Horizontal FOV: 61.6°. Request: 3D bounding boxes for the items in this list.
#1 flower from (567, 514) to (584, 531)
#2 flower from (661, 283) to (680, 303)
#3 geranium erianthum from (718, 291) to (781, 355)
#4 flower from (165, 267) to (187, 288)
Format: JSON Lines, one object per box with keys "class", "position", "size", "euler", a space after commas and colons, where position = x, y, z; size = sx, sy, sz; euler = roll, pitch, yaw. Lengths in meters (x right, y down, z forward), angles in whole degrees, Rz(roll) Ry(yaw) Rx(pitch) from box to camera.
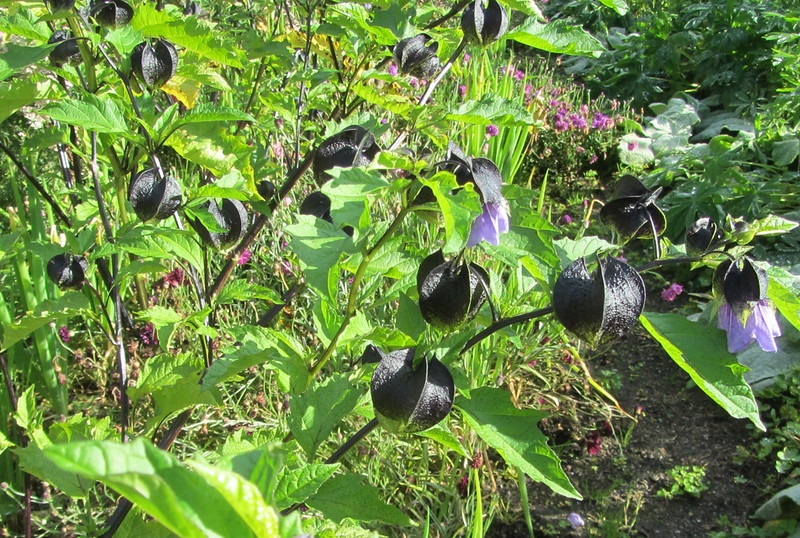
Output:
{"class": "flower", "position": [0.709, 1.002, 2.704], "size": [0.061, 0.025, 0.079], "euler": [-2, 10, -6]}
{"class": "flower", "position": [1.504, 0.145, 3.696], "size": [0.052, 0.110, 0.110], "euler": [53, 9, -7]}
{"class": "geranium erianthum", "position": [0.947, 0.149, 1.837], "size": [0.147, 0.153, 0.082], "euler": [-2, -4, 4]}
{"class": "flower", "position": [-1.037, 0.040, 3.091], "size": [0.079, 0.033, 0.088], "euler": [13, -21, -27]}
